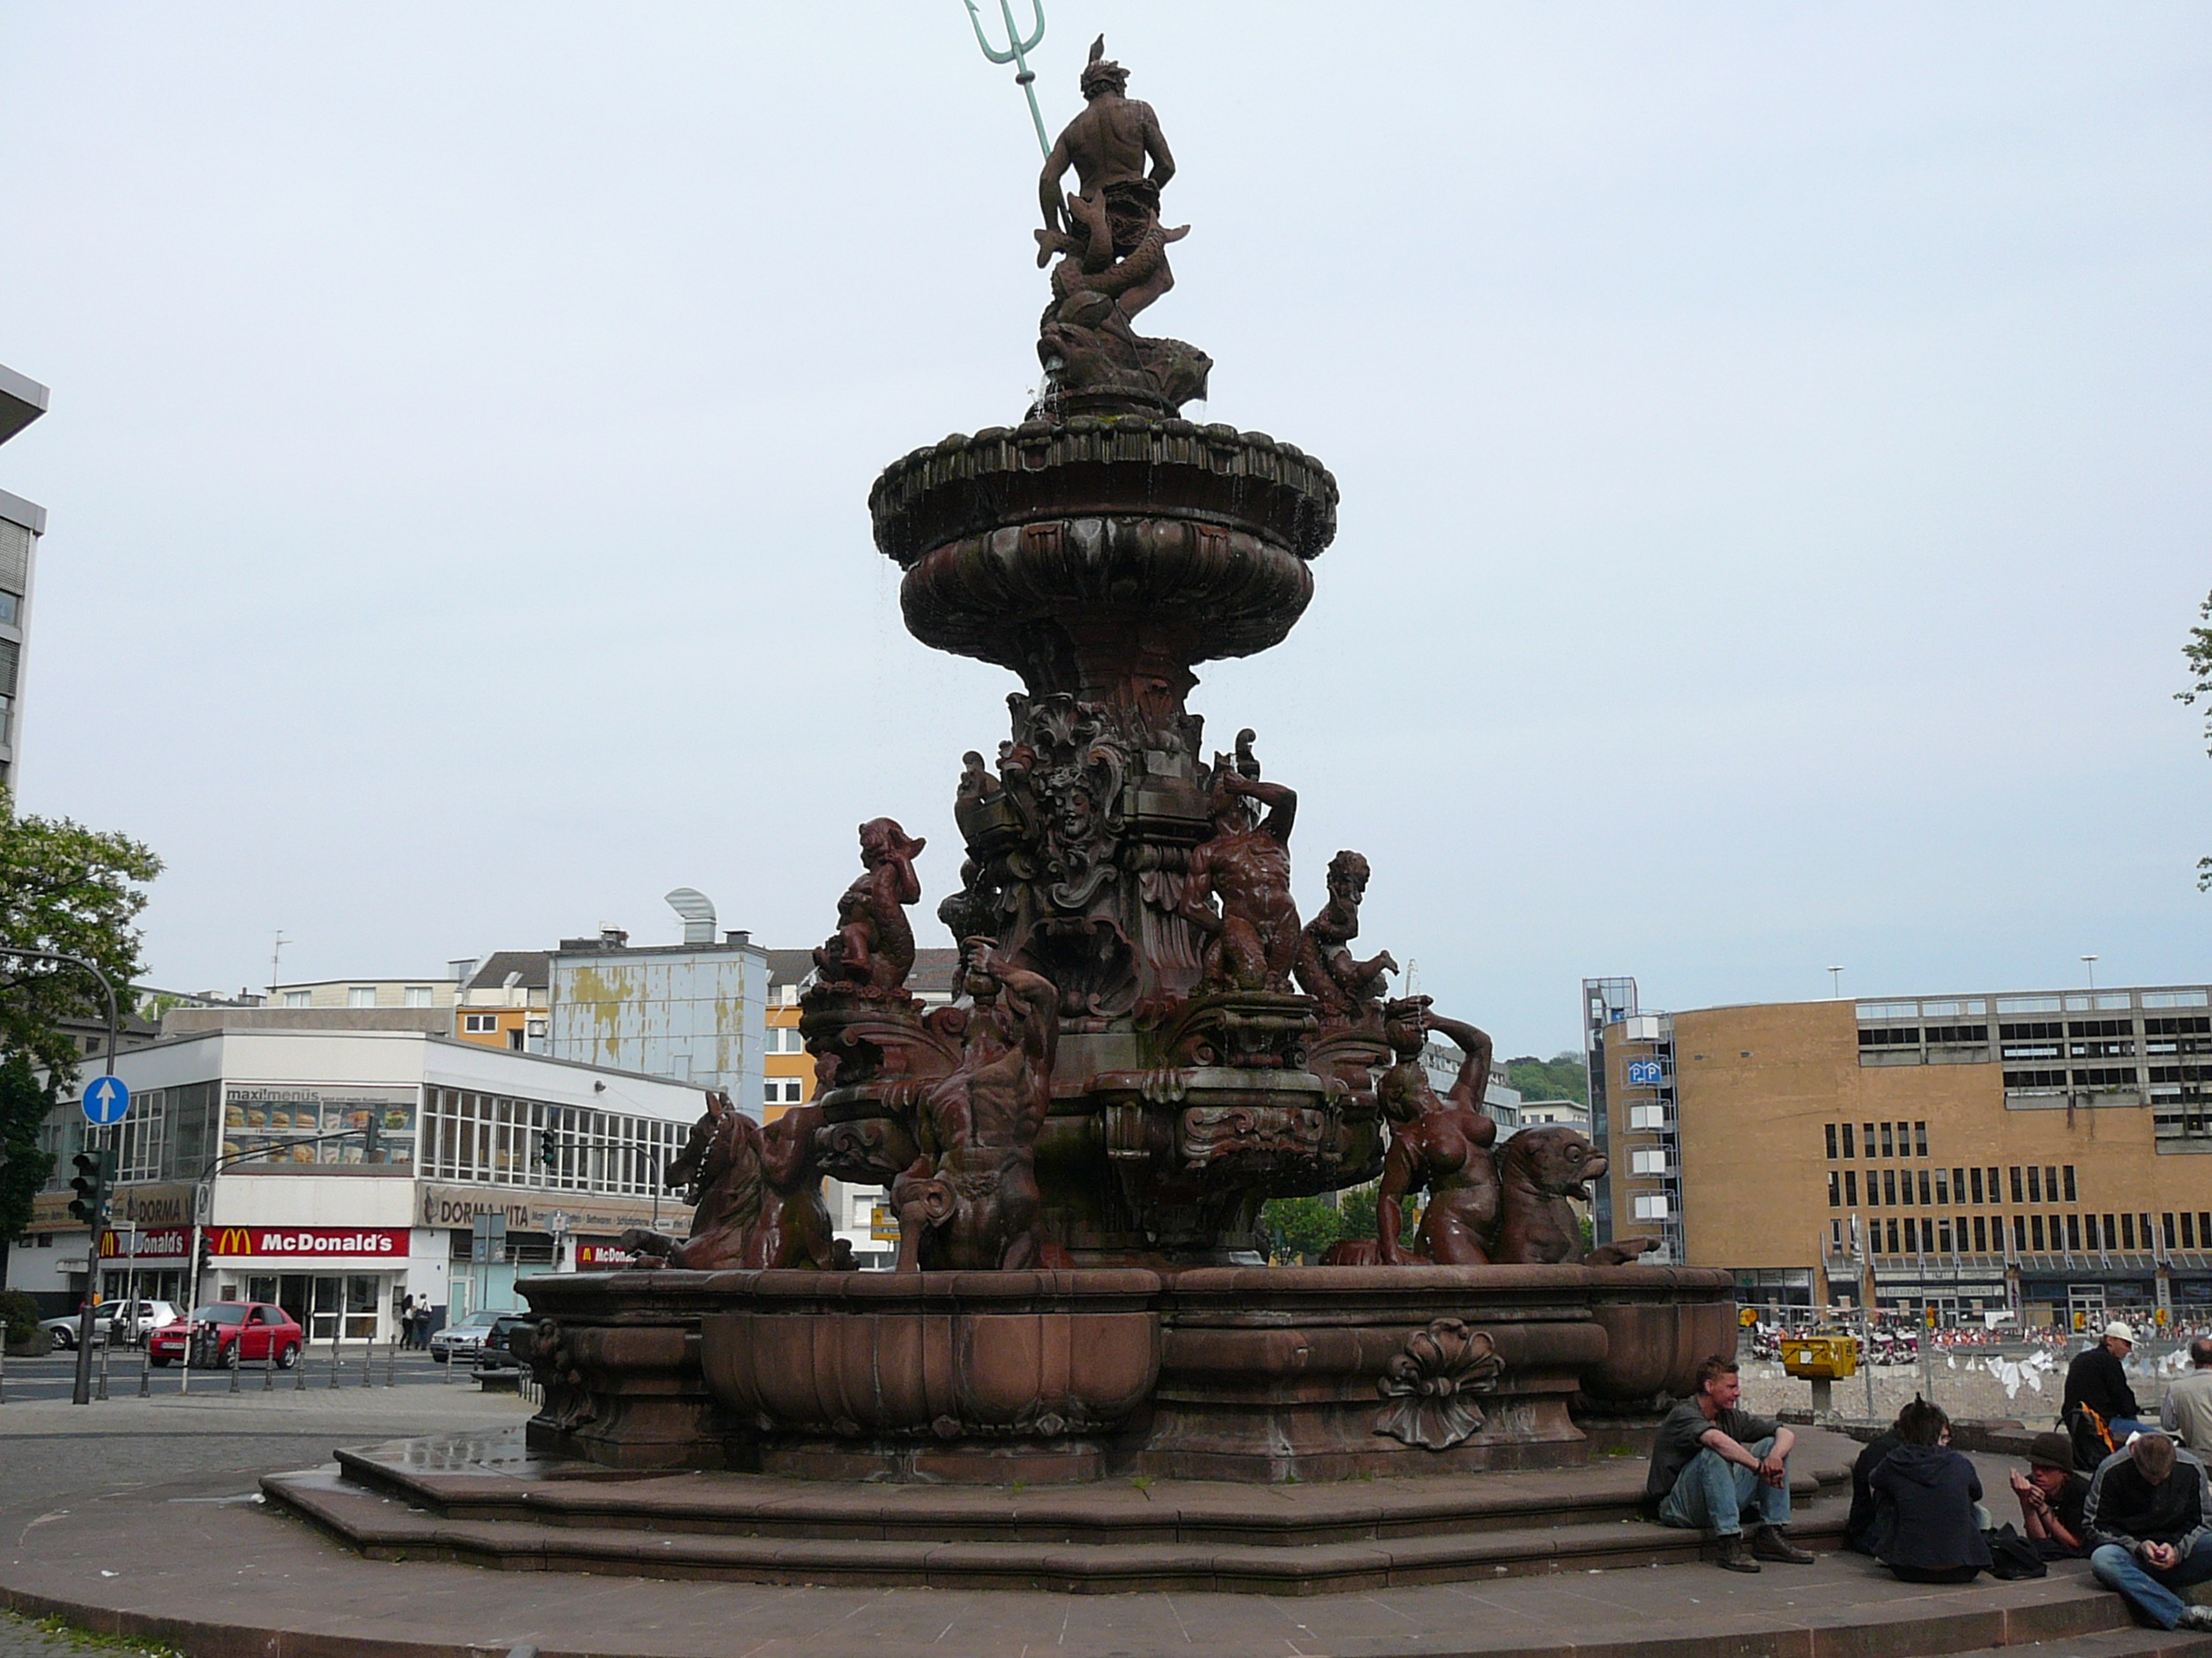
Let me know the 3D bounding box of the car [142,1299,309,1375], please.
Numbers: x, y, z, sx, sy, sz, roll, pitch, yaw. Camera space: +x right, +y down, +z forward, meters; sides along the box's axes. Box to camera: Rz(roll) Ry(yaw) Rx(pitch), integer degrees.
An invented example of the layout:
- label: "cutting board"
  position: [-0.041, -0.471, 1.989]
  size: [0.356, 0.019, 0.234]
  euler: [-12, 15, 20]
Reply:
- label: "car"
  position: [-17.402, 10.038, 41.322]
  size: [2.475, 1.215, 4.660]
  euler: [9, -13, -32]

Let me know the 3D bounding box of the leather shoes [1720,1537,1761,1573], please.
- label: "leather shoes"
  position: [3.459, 3.988, 11.456]
  size: [0.229, 0.216, 0.101]
  euler: [-3, -2, 3]

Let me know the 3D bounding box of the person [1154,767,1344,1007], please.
- label: "person"
  position: [0.988, 0.342, 15.246]
  size: [0.809, 1.705, 0.623]
  euler: [1, -11, 2]

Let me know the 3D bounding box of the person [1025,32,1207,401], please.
- label: "person"
  position: [0.201, -5.062, 17.889]
  size: [1.463, 3.299, 1.002]
  euler: [-3, -9, 3]

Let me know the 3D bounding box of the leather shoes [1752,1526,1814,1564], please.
- label: "leather shoes"
  position: [3.849, 3.990, 11.664]
  size: [0.278, 0.164, 0.414]
  euler: [-9, -15, 42]

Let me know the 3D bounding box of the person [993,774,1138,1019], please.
- label: "person"
  position: [-0.280, 0.513, 16.212]
  size: [1.081, 2.615, 0.761]
  euler: [-13, -29, 22]

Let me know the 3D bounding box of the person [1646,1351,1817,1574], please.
- label: "person"
  position: [3.365, 3.683, 11.886]
  size: [0.791, 1.250, 0.977]
  euler: [14, -23, -42]

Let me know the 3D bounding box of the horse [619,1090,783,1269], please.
- label: "horse"
  position: [-2.854, 2.572, 15.325]
  size: [0.942, 1.247, 0.675]
  euler: [2, -11, -2]
